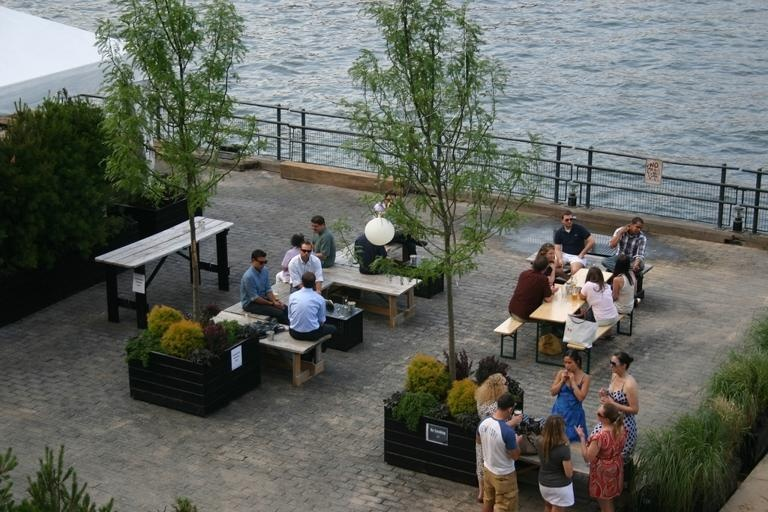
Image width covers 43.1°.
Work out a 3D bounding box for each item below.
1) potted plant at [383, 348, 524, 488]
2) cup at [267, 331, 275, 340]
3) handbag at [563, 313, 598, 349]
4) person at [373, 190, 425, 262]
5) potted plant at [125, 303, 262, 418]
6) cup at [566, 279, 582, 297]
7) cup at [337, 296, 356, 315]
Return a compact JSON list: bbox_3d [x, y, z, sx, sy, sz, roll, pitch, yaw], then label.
[{"bbox_3d":[1.151,3.000,18.168,2.458,2.206,2.431,6,13,36],"label":"potted plant"},{"bbox_3d":[-2.315,1.607,19.599,0.153,0.166,0.182,3,23,5],"label":"cup"},{"bbox_3d":[3.956,1.519,19.687,0.638,0.577,0.266,15,12,15],"label":"handbag"},{"bbox_3d":[0.268,-0.533,19.875,0.997,0.642,1.587,-10,-19,8],"label":"person"},{"bbox_3d":[-3.688,1.996,19.422,2.304,1.873,2.239,5,12,32],"label":"potted plant"},{"bbox_3d":[4.075,0.697,20.985,0.233,0.370,0.390,6,20,20],"label":"cup"},{"bbox_3d":[-0.875,1.063,20.899,0.492,0.473,0.281,2,13,11],"label":"cup"}]
